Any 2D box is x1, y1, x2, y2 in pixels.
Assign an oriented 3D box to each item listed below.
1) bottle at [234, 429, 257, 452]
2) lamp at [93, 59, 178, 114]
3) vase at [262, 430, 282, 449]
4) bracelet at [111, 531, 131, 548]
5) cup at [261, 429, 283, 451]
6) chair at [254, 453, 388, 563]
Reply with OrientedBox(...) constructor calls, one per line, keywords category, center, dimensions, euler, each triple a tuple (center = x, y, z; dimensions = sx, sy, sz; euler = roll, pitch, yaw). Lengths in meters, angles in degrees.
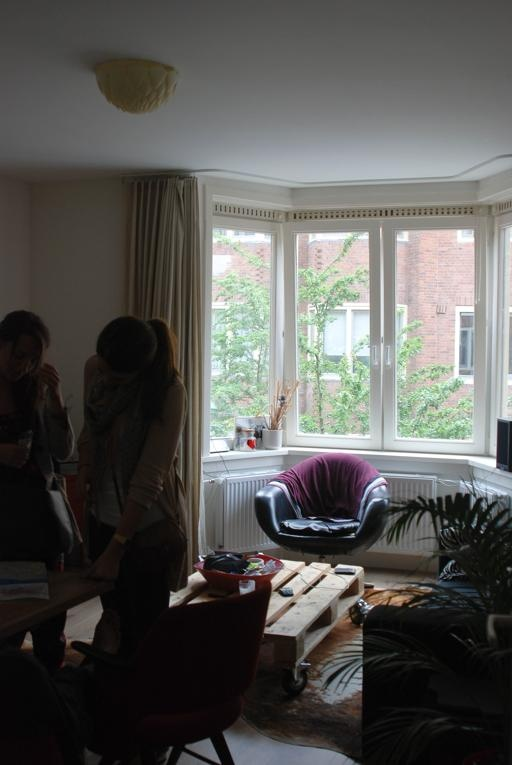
OrientedBox(category="bottle", center=(-0.067, 0.351, 3.689), dimensions=(0.136, 0.139, 0.098), euler=(0, -5, 1))
OrientedBox(category="lamp", center=(-0.391, -0.933, 1.972), dimensions=(0.200, 0.130, 0.207), euler=(2, 8, 27))
OrientedBox(category="vase", center=(0.099, 0.354, 3.745), dimensions=(0.102, 0.109, 0.124), euler=(2, -5, -14))
OrientedBox(category="bracelet", center=(-0.254, 0.294, 1.116), dimensions=(0.034, 0.031, 0.017), euler=(-4, 5, -43))
OrientedBox(category="cup", center=(0.097, 0.351, 3.691), dimensions=(0.102, 0.113, 0.128), euler=(2, -6, -11))
OrientedBox(category="chair", center=(0.341, 0.659, 3.316), dimensions=(0.737, 0.751, 0.759), euler=(-2, -9, 19))
